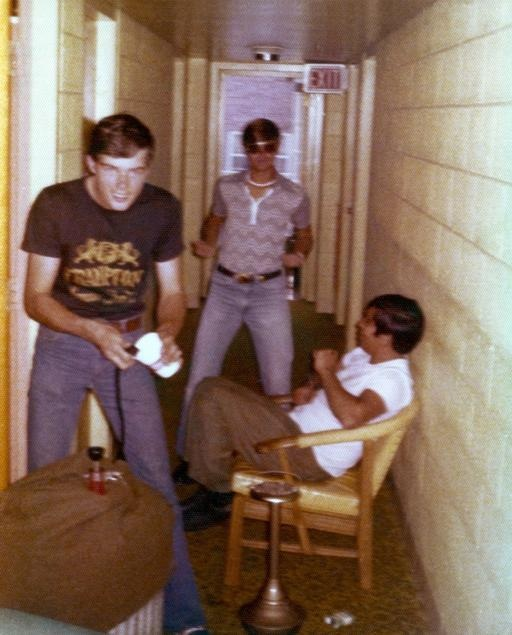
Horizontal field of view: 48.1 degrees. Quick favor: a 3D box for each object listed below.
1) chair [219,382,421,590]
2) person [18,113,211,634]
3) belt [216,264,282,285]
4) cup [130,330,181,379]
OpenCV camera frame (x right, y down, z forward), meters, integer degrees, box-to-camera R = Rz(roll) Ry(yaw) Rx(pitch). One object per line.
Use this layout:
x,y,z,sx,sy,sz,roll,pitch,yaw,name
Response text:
0.213,0.547,1.942,0.695,0.667,0.631,5,0,7,chair
-0.369,0.188,1.442,0.426,1.321,0.422,-3,20,-11,person
-0.030,-0.180,2.369,0.266,0.061,0.079,1,18,0,belt
-0.237,0.089,1.329,0.098,0.126,0.079,5,19,13,cup
